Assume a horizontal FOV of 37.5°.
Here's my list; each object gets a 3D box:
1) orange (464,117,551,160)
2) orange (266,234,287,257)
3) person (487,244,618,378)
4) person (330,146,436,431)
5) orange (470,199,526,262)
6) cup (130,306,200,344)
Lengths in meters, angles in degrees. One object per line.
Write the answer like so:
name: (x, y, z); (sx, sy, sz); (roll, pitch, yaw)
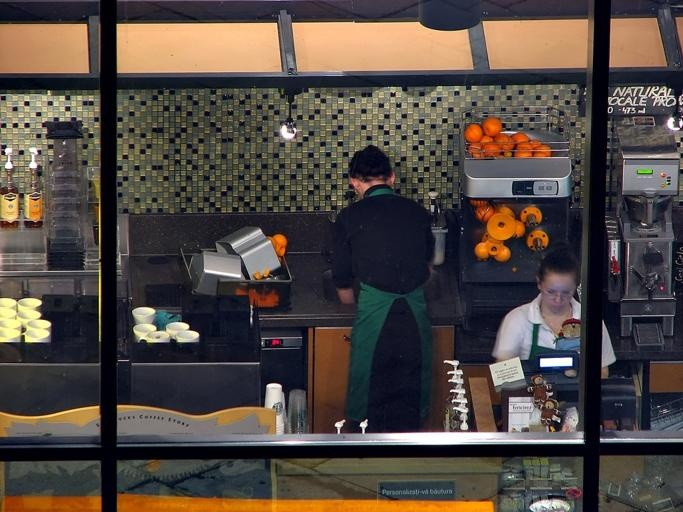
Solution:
orange: (0.851, -0.608, 5.163); (0.437, 0.251, 0.319); (0, -2, 6)
orange: (-0.358, -0.058, 5.655); (0.135, 0.122, 0.098); (3, 19, -16)
person: (1.005, 0.261, 4.758); (0.691, 0.843, 0.502); (0, 13, 4)
person: (0.212, 0.168, 5.260); (0.538, 1.491, 0.337); (0, -3, 4)
orange: (0.844, -0.145, 5.282); (0.329, 0.299, 0.128); (27, 19, 11)
cup: (-0.856, 0.336, 4.855); (0.314, 0.165, 0.317); (0, -2, 0)
